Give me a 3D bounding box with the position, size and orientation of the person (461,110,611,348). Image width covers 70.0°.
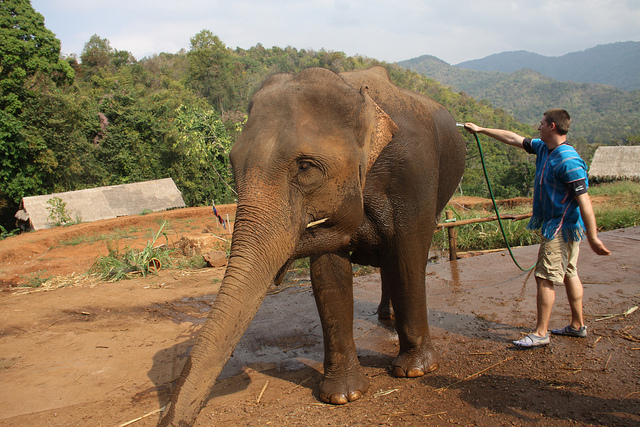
[{"bbox_3d":[3.131,0.147,5.967,0.916,2.946,1.092,-5,13,13],"label":"person"}]
